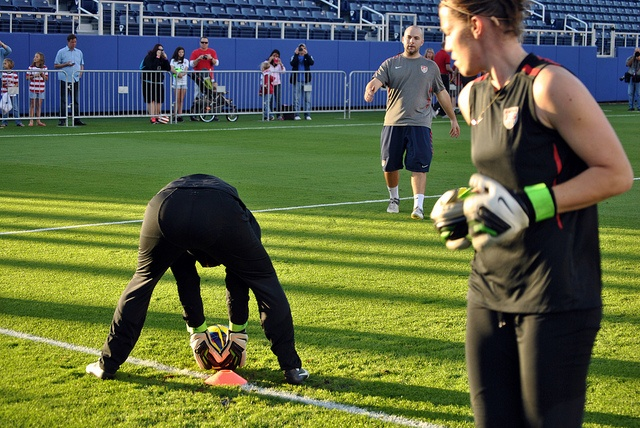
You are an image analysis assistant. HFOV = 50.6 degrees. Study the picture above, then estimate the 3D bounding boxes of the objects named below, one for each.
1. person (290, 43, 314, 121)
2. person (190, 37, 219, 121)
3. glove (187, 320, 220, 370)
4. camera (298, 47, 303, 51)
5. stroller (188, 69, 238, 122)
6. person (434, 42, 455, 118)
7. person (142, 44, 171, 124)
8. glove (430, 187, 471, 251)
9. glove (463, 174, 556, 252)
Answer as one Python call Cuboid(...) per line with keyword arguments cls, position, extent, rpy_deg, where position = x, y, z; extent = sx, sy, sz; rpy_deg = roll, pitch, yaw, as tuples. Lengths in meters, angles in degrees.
Cuboid(cls="person", position=(-0.675, -4.503, 23.135), extent=(0.744, 2.476, 1.114), rpy_deg=(5, 13, 23))
Cuboid(cls="person", position=(-3.686, -4.325, 21.481), extent=(0.836, 2.451, 0.750), rpy_deg=(-1, 16, -16))
Cuboid(cls="glove", position=(-0.794, 0.907, 4.552), extent=(0.133, 0.375, 0.172), rpy_deg=(-17, 13, 12))
Cuboid(cls="camera", position=(-0.678, -5.560, 22.907), extent=(0.071, 0.146, 0.232), rpy_deg=(-10, 17, -39))
Cuboid(cls="stroller", position=(-3.422, -3.878, 22.004), extent=(1.440, 1.648, 1.037), rpy_deg=(-5, 9, -24))
Cuboid(cls="person", position=(4.015, -4.294, 21.654), extent=(0.688, 2.385, 0.790), rpy_deg=(-2, 8, -23))
Cuboid(cls="person", position=(-5.071, -3.948, 20.722), extent=(0.982, 2.294, 0.981), rpy_deg=(1, 10, -17))
Cuboid(cls="glove", position=(0.538, 0.023, 2.790), extent=(0.137, 0.275, 0.147), rpy_deg=(0, -5, 6))
Cuboid(cls="glove", position=(0.718, -0.013, 2.657), extent=(0.335, 0.176, 0.244), rpy_deg=(-20, -14, -13))
